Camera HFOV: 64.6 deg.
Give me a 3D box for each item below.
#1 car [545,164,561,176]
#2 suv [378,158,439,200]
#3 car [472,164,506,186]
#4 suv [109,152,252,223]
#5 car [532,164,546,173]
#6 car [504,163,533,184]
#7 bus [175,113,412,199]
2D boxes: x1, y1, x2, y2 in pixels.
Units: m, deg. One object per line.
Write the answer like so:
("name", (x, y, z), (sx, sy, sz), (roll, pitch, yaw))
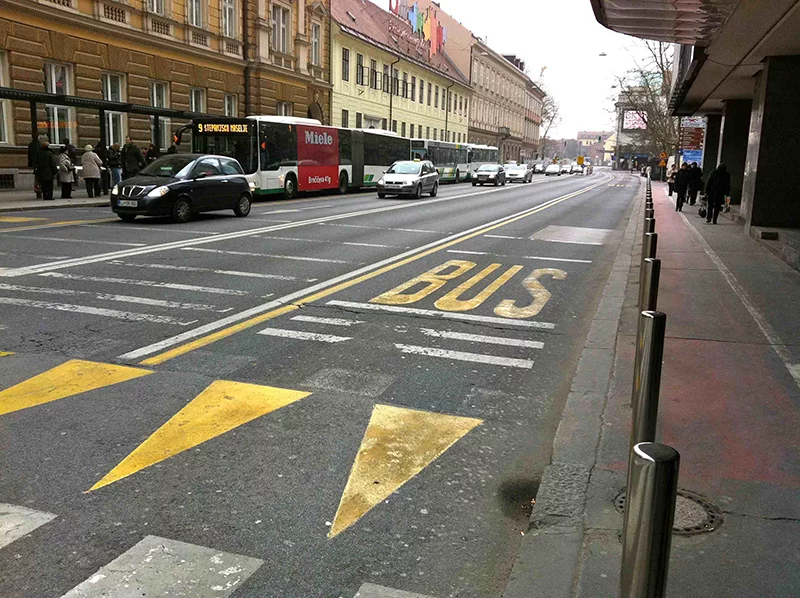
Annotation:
("car", (23.942, -20.022, 98.790), (1.858, 1.765, 5.020), (1, 10, 19))
("suv", (0.477, -5.756, 30.697), (1.529, 1.256, 3.472), (3, 17, 16))
("car", (7.141, -10.029, 50.927), (2.089, 1.589, 3.740), (6, 13, 19))
("suv", (-6.252, -3.234, 18.401), (1.887, 1.685, 3.837), (4, 13, 21))
("car", (22.112, -20.937, 101.684), (1.406, 1.184, 3.061), (2, 19, 19))
("car", (11.660, -12.280, 62.259), (2.327, 1.499, 2.668), (3, 12, 3))
("bus", (-4.363, -7.176, 32.557), (3.469, 3.846, 15.572), (6, 13, 21))
